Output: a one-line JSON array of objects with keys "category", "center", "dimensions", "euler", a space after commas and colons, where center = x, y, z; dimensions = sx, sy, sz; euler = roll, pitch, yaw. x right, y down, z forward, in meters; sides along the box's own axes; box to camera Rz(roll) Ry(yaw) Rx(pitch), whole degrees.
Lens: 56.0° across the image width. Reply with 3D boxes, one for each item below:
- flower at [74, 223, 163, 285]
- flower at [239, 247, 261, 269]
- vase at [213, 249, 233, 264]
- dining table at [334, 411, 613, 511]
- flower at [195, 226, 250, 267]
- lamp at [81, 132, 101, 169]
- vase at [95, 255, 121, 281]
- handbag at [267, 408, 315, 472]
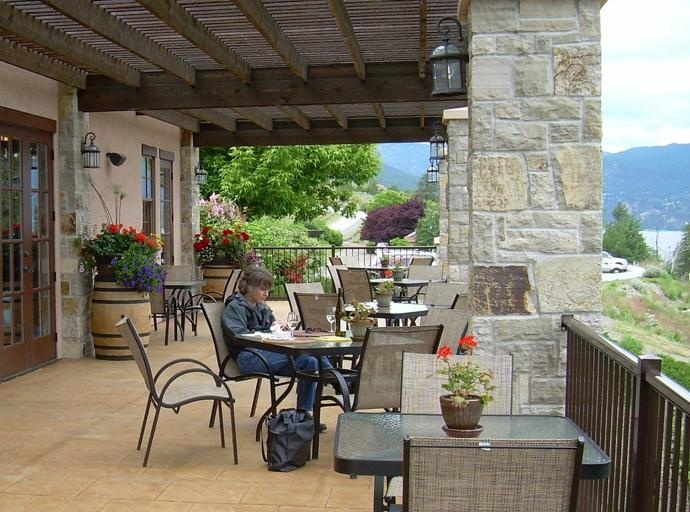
[{"category": "flower", "center": [-2.407, 0.055, 7.576], "dimensions": [0.809, 0.572, 0.791], "euler": [10, 3, 40]}, {"category": "flower", "center": [-1.584, 0.043, 10.524], "dimensions": [0.352, 0.411, 0.386], "euler": [1, -7, 21]}, {"category": "vase", "center": [-2.050, 0.025, 10.804], "dimensions": [0.249, 0.180, 0.242], "euler": [2, 6, 2]}, {"category": "dining table", "center": [0.500, 0.948, 2.878], "dimensions": [1.103, 0.448, 0.709], "euler": [-1, 6, -2]}, {"category": "flower", "center": [-2.147, -0.071, 11.238], "dimensions": [0.771, 0.536, 0.778], "euler": [3, -4, -11]}, {"category": "lamp", "center": [-2.990, -1.246, 7.637], "dimensions": [0.217, 0.413, 0.199], "euler": [3, 9, 13]}, {"category": "vase", "center": [-2.665, 0.152, 7.376], "dimensions": [0.281, 0.285, 0.279], "euler": [2, -5, -11]}, {"category": "handbag", "center": [-0.378, 1.271, 4.409], "dimensions": [0.379, 0.344, 0.250], "euler": [2, 7, -25]}]
